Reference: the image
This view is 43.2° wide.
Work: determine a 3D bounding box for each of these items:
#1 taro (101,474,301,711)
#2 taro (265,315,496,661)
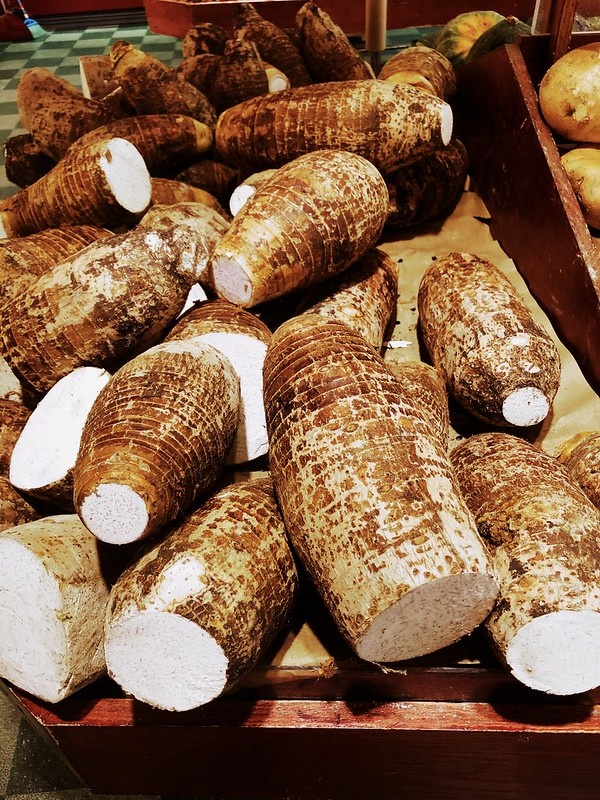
[{"bbox_3d":[-0.125,0.278,1.103,0.206,0.142,0.357,36,61,28],"label":"taro"},{"bbox_3d":[0.093,0.123,1.172,0.264,0.224,0.522,-19,56,-9],"label":"taro"}]
